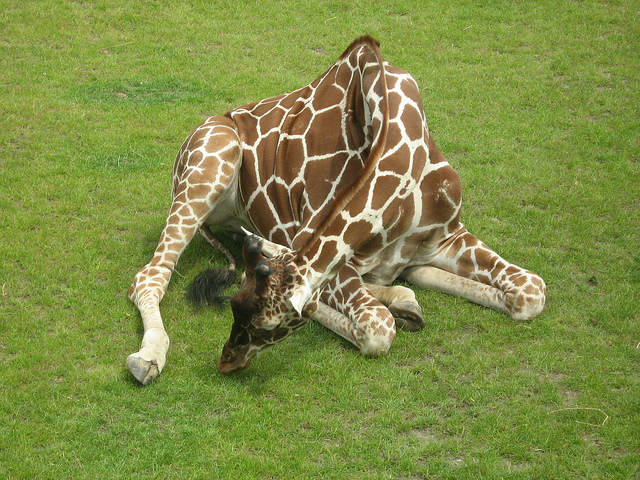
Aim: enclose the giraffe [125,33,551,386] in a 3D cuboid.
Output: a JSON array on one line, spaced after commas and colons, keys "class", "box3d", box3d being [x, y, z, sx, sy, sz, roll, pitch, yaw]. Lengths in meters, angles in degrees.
[{"class": "giraffe", "box3d": [0.173, -0.536, 12.254, 4.947, 3.295, 5.120, 10, 30, 3]}]
